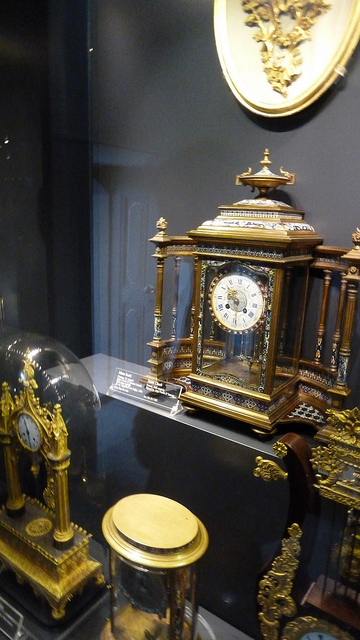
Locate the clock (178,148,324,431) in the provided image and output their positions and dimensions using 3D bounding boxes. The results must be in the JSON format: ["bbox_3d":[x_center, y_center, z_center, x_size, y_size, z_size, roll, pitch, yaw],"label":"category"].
[{"bbox_3d":[0.196,-0.033,1.359,0.314,0.609,0.270,13,14,33],"label":"clock"}]

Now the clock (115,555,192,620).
[{"bbox_3d":[-0.019,0.470,0.838,0.079,0.088,0.088,15,-24,-1],"label":"clock"}]

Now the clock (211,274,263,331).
[{"bbox_3d":[0.160,-0.051,1.269,0.128,0.136,0.018,11,15,38],"label":"clock"}]

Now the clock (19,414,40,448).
[{"bbox_3d":[-0.352,0.257,1.115,0.010,0.073,0.069,-12,25,-40],"label":"clock"}]

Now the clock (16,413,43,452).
[{"bbox_3d":[-0.352,0.260,1.116,0.013,0.099,0.093,-10,12,-43],"label":"clock"}]
